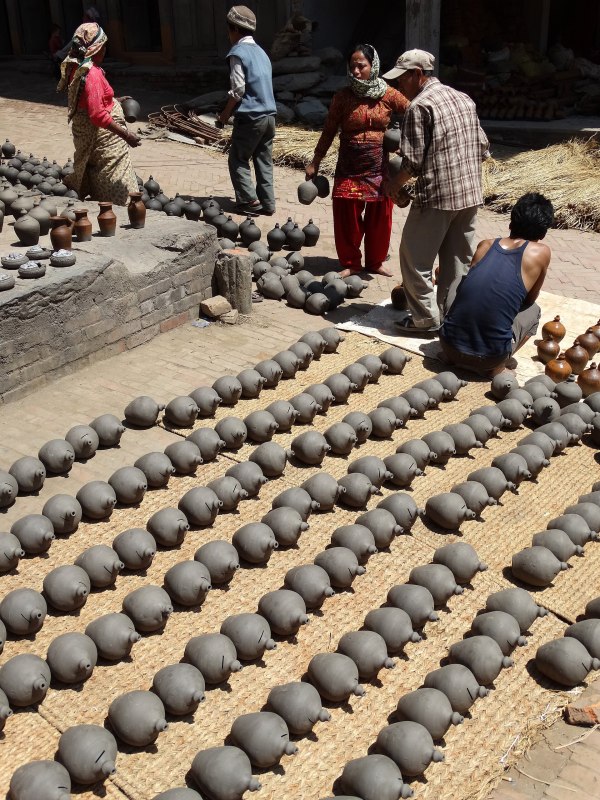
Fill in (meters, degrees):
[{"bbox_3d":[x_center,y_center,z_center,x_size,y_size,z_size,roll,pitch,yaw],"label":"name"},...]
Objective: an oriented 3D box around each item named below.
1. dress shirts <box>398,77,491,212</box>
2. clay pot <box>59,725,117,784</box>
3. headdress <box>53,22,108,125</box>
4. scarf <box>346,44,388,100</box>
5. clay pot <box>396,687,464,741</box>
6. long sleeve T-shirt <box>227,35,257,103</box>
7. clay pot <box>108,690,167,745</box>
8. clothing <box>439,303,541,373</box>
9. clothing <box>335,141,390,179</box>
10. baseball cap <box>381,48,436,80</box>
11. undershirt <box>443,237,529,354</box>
[{"bbox_3d":[1.360,-2.009,5.264,0.583,0.927,0.833,-27,33,-14],"label":"dress shirts"},{"bbox_3d":[-0.685,1.149,2.202,0.126,0.096,0.140,28,-9,-36],"label":"clay pot"},{"bbox_3d":[-2.057,-3.143,6.550,0.392,0.869,0.650,-13,27,-27],"label":"headdress"},{"bbox_3d":[0.582,-2.896,6.066,0.270,0.449,0.419,21,30,38],"label":"scarf"},{"bbox_3d":[0.484,1.126,2.471,0.180,0.158,0.226,-9,-2,-38],"label":"clay pot"},{"bbox_3d":[-0.672,-3.847,7.969,0.288,0.639,0.523,11,22,30],"label":"long sleeve T-shirt"},{"bbox_3d":[-0.558,1.099,2.348,0.164,0.118,0.112,-2,47,35],"label":"clay pot"},{"bbox_3d":[1.517,-0.510,5.169,0.617,0.196,0.652,19,35,38],"label":"clothing"},{"bbox_3d":[0.600,-2.235,6.378,0.391,0.447,0.289,-7,-5,19],"label":"clothing"},{"bbox_3d":[0.837,-2.516,5.232,0.439,0.217,0.248,4,44,16],"label":"baseball cap"},{"bbox_3d":[1.365,-0.668,5.050,0.486,0.880,0.501,20,-10,18],"label":"undershirt"}]
